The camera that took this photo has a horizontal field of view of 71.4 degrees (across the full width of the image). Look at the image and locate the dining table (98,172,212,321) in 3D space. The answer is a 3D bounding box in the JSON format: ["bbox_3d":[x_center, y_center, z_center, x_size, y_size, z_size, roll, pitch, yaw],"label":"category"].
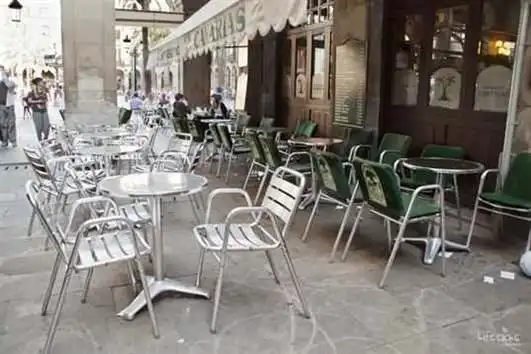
[{"bbox_3d":[-1.150,0.501,4.069,1.256,1.416,1.286,12,14,42],"label":"dining table"}]

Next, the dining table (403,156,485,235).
[{"bbox_3d":[2.321,0.016,4.861,0.696,0.416,0.679,-6,22,-16],"label":"dining table"}]

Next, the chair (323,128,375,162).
[{"bbox_3d":[1.645,-0.625,7.083,0.703,0.791,0.633,-3,12,-23],"label":"chair"}]

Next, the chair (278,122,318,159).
[{"bbox_3d":[0.662,-0.830,8.796,0.932,0.981,0.764,0,14,-27],"label":"chair"}]

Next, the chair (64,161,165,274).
[{"bbox_3d":[-1.603,0.518,3.919,0.542,0.404,0.688,-13,53,22],"label":"chair"}]

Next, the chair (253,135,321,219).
[{"bbox_3d":[0.331,-0.150,6.504,1.291,1.696,1.244,-4,15,-14],"label":"chair"}]

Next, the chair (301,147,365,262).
[{"bbox_3d":[1.111,0.304,4.831,1.094,1.279,0.892,-7,13,-29],"label":"chair"}]

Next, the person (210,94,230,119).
[{"bbox_3d":[-1.629,-2.285,12.144,0.713,0.861,0.686,1,17,11],"label":"person"}]

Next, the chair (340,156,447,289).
[{"bbox_3d":[1.469,0.450,4.288,1.027,1.236,0.938,-3,9,-13],"label":"chair"}]

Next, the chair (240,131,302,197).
[{"bbox_3d":[0.250,-0.141,6.119,0.770,1.144,0.775,-5,18,-25],"label":"chair"}]

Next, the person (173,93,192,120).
[{"bbox_3d":[-2.770,-2.330,12.299,0.575,0.791,1.553,-2,16,-13],"label":"person"}]

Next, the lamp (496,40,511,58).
[{"bbox_3d":[3.517,-1.884,5.436,0.220,0.186,0.198,-5,19,4],"label":"lamp"}]

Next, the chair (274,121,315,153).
[{"bbox_3d":[0.708,-0.843,8.799,0.882,0.924,0.710,-7,21,-33],"label":"chair"}]

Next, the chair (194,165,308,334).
[{"bbox_3d":[-0.137,0.623,3.700,1.269,1.325,1.187,1,8,3],"label":"chair"}]

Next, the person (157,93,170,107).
[{"bbox_3d":[-4.883,-3.653,17.657,0.419,0.704,1.465,-3,16,-15],"label":"person"}]
